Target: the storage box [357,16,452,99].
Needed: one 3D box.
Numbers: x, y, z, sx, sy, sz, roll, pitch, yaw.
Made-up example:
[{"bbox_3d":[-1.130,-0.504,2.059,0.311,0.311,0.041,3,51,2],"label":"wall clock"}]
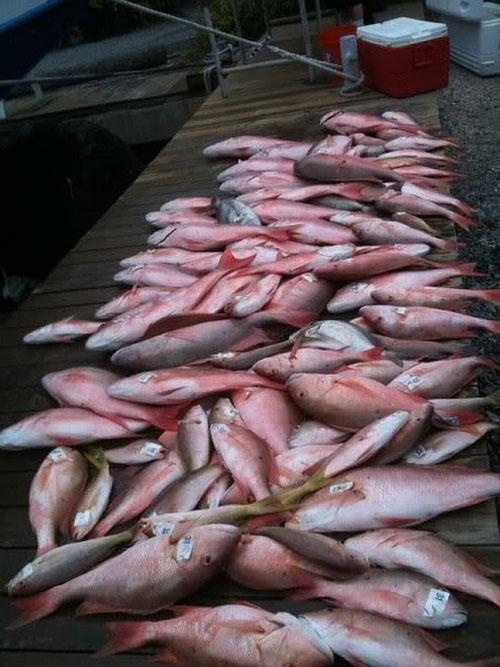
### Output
[{"bbox_3d":[1.088,-1.967,4.802,0.531,0.365,0.589,-24,39,-16],"label":"storage box"}]
